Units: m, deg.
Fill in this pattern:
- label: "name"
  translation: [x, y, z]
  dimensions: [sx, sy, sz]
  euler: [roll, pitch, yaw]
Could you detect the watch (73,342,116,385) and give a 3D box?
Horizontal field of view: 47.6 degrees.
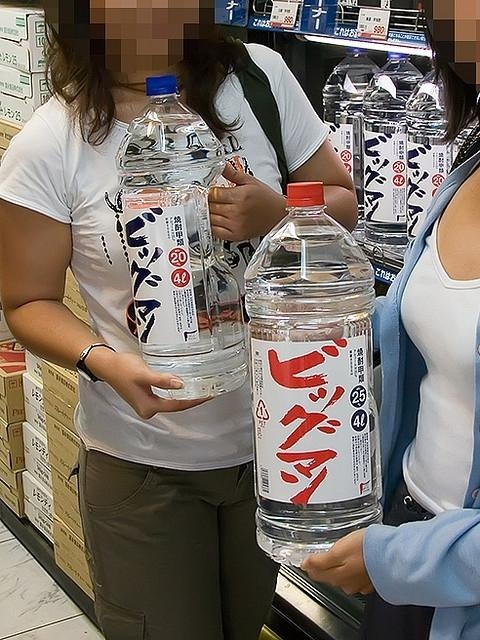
- label: "watch"
  translation: [-0.247, 0.081, 0.928]
  dimensions: [0.060, 0.079, 0.064]
  euler: [-9, 23, -18]
